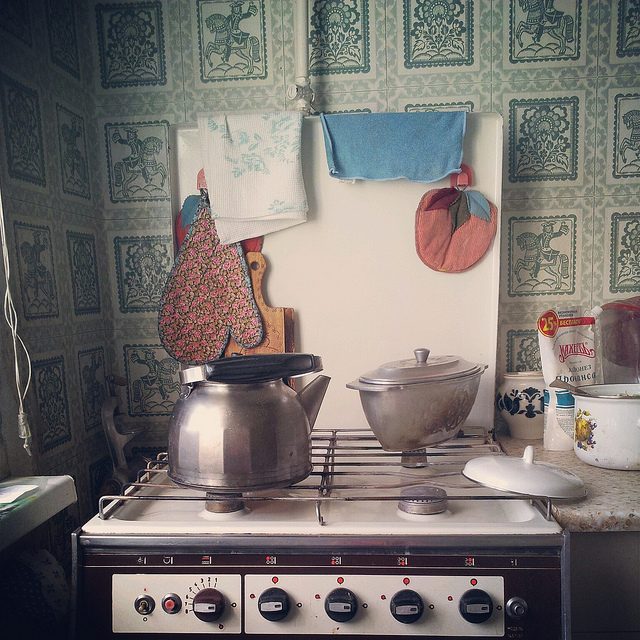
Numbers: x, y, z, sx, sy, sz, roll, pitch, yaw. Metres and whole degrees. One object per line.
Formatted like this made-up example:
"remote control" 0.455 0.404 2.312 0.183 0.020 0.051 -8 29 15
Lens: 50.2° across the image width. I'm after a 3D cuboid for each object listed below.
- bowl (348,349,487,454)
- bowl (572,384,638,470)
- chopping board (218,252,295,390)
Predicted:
"bowl" 0.221 0.157 1.435 0.309 0.229 0.181 -8 6 -40
"bowl" 0.563 0.212 1.410 0.140 0.131 0.156 -1 -5 1
"chopping board" -0.125 0.003 1.616 0.192 0.324 0.090 4 13 3
